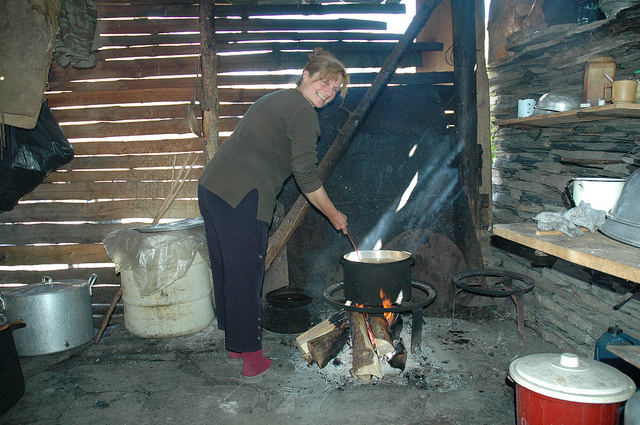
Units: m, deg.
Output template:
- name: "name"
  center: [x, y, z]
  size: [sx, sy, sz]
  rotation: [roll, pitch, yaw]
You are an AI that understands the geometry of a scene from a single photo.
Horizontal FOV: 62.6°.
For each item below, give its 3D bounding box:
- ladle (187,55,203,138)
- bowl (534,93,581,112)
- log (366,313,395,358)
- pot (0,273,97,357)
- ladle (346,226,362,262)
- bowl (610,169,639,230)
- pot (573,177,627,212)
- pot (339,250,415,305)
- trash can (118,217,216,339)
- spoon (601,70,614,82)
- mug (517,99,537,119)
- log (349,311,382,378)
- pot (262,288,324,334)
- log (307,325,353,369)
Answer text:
- name: "ladle"
  center: [-1.555, -1.435, 6.504]
  size: [0.201, 1.014, 0.296]
  rotation: [-3, 13, -13]
- name: "bowl"
  center: [2.499, -1.151, 5.499]
  size: [0.440, 0.194, 0.335]
  rotation: [4, 12, 20]
- name: "log"
  center: [0.632, 1.217, 5.441]
  size: [0.274, 0.147, 0.506]
  rotation: [-37, 29, 19]
- name: "pot"
  center: [-3.150, 1.070, 6.076]
  size: [0.967, 0.806, 0.866]
  rotation: [-6, 0, -37]
- name: "ladle"
  center: [0.385, 0.358, 5.943]
  size: [0.082, 0.024, 0.497]
  rotation: [6, 41, -30]
- name: "bowl"
  center: [2.370, -0.107, 4.042]
  size: [0.186, 0.421, 0.211]
  rotation: [6, 14, 26]
- name: "pot"
  center: [2.330, -0.147, 4.342]
  size: [0.347, 0.230, 0.278]
  rotation: [1, 3, 33]
- name: "pot"
  center: [0.687, 0.673, 5.508]
  size: [0.736, 0.397, 0.644]
  rotation: [-4, 6, 22]
- name: "trash can"
  center: [-1.838, 0.800, 6.306]
  size: [1.191, 1.204, 1.189]
  rotation: [-5, 5, -35]
- name: "spoon"
  center: [2.845, -1.349, 5.195]
  size: [0.027, 0.138, 0.023]
  rotation: [-38, -9, -29]
- name: "mug"
  center: [2.301, -1.153, 5.908]
  size: [0.216, 0.223, 0.201]
  rotation: [1, 2, 6]
- name: "log"
  center: [0.473, 1.342, 5.286]
  size: [0.245, 0.167, 0.659]
  rotation: [-12, 32, -1]
- name: "pot"
  center: [-0.322, 1.137, 6.005]
  size: [0.583, 0.254, 0.573]
  rotation: [0, -4, 0]
- name: "log"
  center: [0.093, 1.398, 5.444]
  size: [0.541, 0.187, 0.237]
  rotation: [-13, -18, -37]
